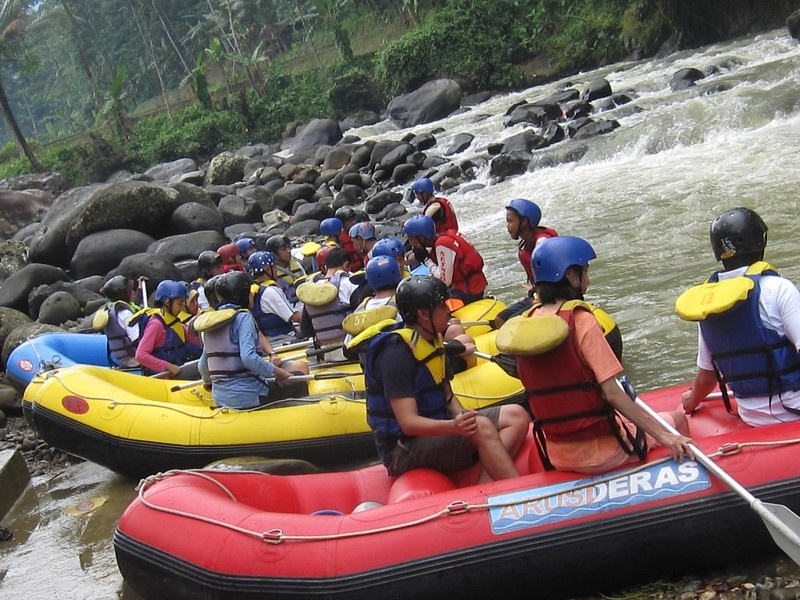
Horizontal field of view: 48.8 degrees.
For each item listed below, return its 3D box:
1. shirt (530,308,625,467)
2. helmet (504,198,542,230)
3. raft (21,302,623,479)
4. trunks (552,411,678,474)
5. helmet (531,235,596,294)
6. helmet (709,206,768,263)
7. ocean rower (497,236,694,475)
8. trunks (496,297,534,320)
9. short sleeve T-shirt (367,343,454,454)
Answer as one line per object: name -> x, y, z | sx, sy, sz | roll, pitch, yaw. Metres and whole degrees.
shirt -> 1.431, 0.708, 6.688 | 0.878, 1.141, 0.370 | -10, 3, 39
helmet -> 1.313, -0.923, 9.364 | 0.274, 0.336, 0.271 | -13, 5, 3
raft -> -1.353, 1.168, 9.221 | 4.656, 0.881, 2.613 | -8, 11, -5
trunks -> 1.582, 1.143, 6.876 | 0.646, 0.204, 0.472 | -9, 6, -19
helmet -> 1.270, -0.311, 6.915 | 0.577, 0.399, 0.417 | -5, -5, -13
helmet -> 2.678, -0.516, 7.023 | 0.369, 0.430, 0.464 | -1, 15, 33
ocean rower -> 1.354, 0.486, 6.751 | 1.065, 1.854, 0.618 | -17, 17, 13
trunks -> 1.259, 0.135, 9.505 | 0.398, 0.119, 0.204 | -26, 25, 1
short sleeve T-shirt -> 0.041, 0.702, 7.598 | 0.733, 1.091, 0.930 | -2, 15, 6
